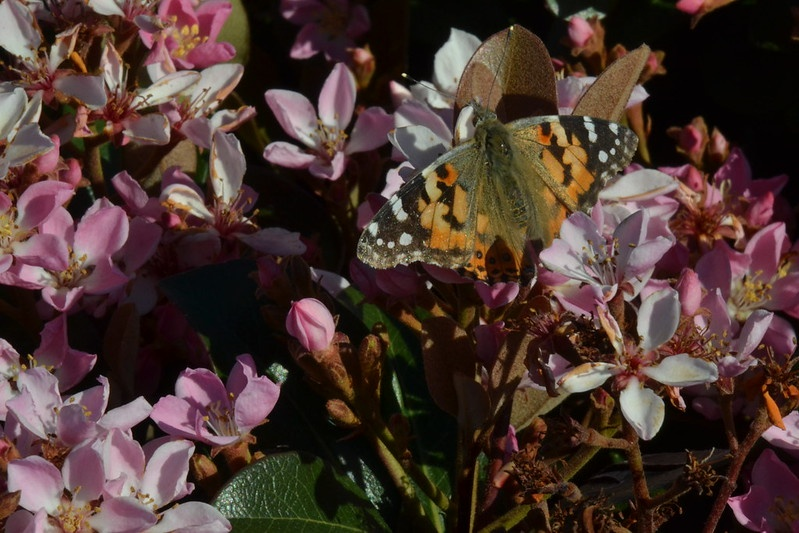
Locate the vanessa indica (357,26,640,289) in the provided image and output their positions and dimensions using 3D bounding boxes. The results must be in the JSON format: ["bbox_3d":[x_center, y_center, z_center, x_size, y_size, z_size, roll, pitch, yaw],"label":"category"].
[{"bbox_3d":[0.174,-0.159,1.706,0.546,0.377,0.184,-22,24,-12],"label":"vanessa indica"}]
